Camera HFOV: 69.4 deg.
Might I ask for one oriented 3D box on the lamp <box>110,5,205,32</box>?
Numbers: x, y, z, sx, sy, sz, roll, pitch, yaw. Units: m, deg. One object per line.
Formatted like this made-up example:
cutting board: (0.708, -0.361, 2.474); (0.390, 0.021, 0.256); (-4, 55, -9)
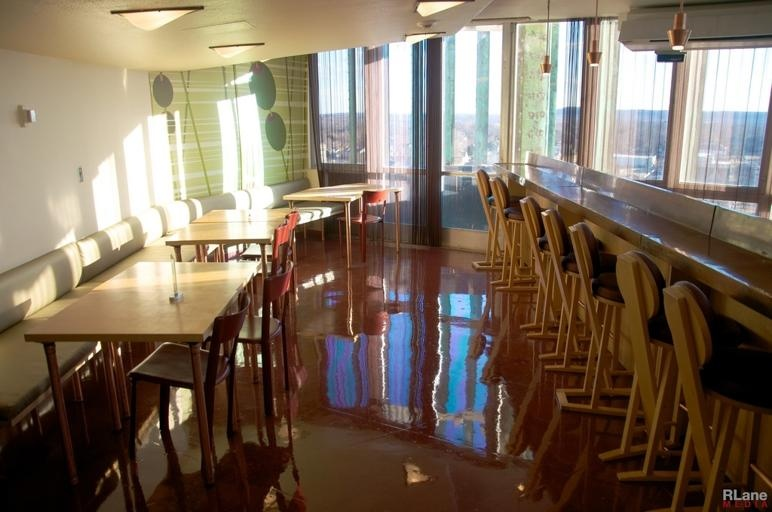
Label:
lamp: (-1.717, -1.819, 4.240); (0.698, 0.095, 0.301); (-6, 13, -7)
